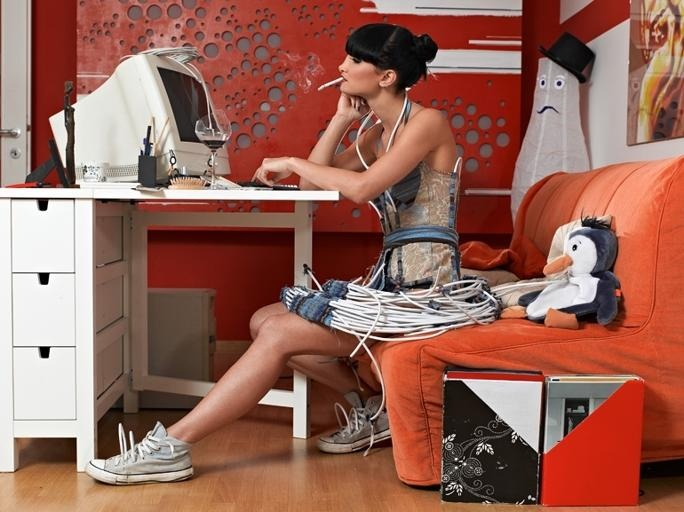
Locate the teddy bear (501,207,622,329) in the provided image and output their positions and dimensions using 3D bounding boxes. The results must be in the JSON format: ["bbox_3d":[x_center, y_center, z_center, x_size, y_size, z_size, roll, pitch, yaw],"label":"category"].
[{"bbox_3d":[0.817,0.032,2.432,0.368,0.421,0.438,4,-1,-12],"label":"teddy bear"}]

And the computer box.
[{"bbox_3d":[-0.774,0.392,3.072,0.327,0.412,0.235,4,-3,-8],"label":"computer box"}]

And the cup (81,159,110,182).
[{"bbox_3d":[-0.973,-0.331,2.527,0.081,0.040,0.110,4,12,-5],"label":"cup"}]

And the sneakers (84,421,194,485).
[{"bbox_3d":[-0.683,0.707,2.383,0.431,0.251,0.173,3,-2,-4],"label":"sneakers"}]

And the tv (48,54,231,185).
[{"bbox_3d":[-0.780,-0.523,2.664,0.587,0.516,0.573,1,2,8],"label":"tv"}]
